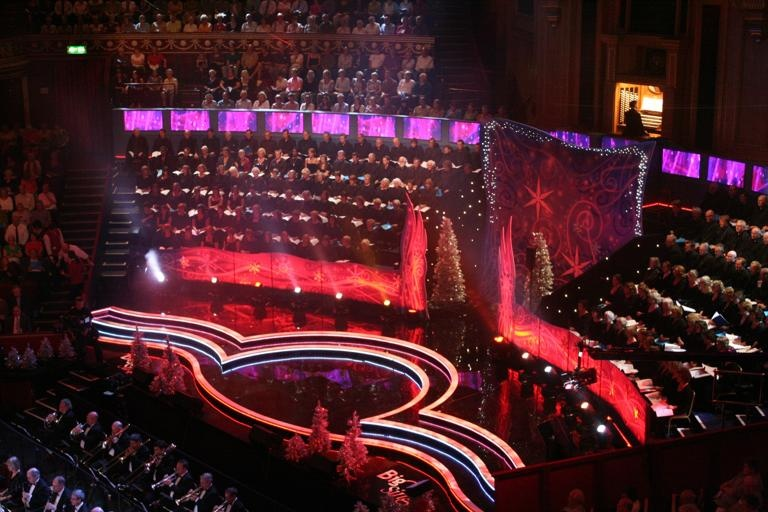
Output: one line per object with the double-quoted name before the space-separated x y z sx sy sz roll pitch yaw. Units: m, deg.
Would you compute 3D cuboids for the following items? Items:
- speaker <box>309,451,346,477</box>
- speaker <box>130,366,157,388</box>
"speaker" -1.224 4.201 13.665 0.679 0.389 1.261 1 10 -8
"speaker" -5.994 2.853 16.355 0.705 0.509 0.391 12 17 29
